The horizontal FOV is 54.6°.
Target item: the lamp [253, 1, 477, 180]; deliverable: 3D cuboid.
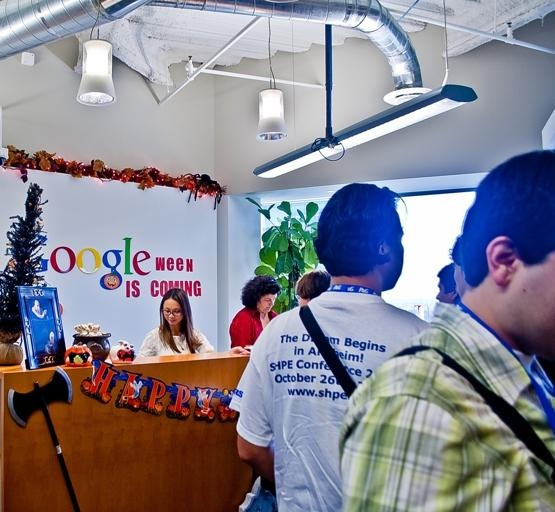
[{"bbox_3d":[0.508,-1.235,3.716,0.331,1.083,2.204,-1,-1,-23],"label":"lamp"}]
